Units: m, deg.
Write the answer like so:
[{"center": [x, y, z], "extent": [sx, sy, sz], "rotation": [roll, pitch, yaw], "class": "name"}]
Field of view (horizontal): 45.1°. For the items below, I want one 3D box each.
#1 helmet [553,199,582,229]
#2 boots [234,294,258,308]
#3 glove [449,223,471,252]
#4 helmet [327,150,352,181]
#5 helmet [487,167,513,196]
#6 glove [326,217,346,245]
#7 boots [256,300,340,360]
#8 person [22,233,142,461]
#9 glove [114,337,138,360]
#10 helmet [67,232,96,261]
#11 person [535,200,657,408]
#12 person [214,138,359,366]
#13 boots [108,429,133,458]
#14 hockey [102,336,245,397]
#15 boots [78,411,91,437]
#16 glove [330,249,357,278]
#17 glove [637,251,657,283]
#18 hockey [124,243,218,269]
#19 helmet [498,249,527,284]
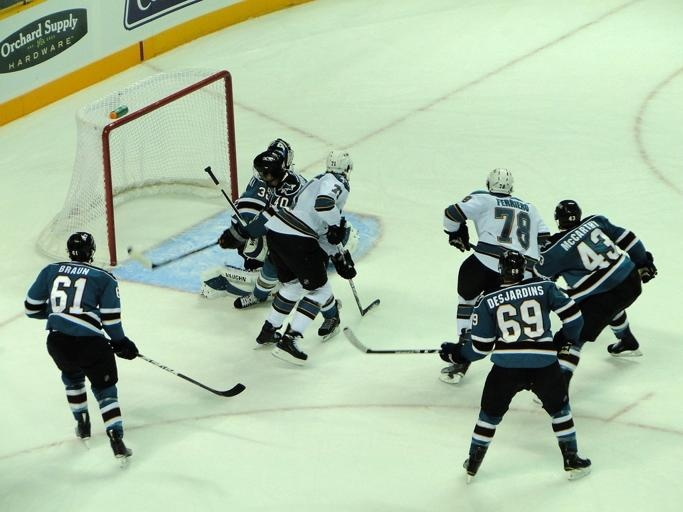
[{"center": [1.559, -0.298, 5.710], "extent": [0.183, 0.194, 0.209], "rotation": [-3, 25, 6], "class": "helmet"}, {"center": [-0.797, 0.384, 6.807], "extent": [0.267, 0.079, 0.095], "rotation": [-11, -4, -16], "class": "boots"}, {"center": [0.875, -0.126, 6.123], "extent": [0.210, 0.187, 0.060], "rotation": [-15, -7, -29], "class": "glove"}, {"center": [-0.015, -0.693, 6.258], "extent": [0.207, 0.204, 0.231], "rotation": [9, 21, 15], "class": "helmet"}, {"center": [1.153, -0.540, 5.930], "extent": [0.173, 0.154, 0.210], "rotation": [6, 18, 5], "class": "helmet"}, {"center": [-0.034, -0.188, 6.090], "extent": [0.077, 0.192, 0.140], "rotation": [-5, 35, -40], "class": "glove"}, {"center": [-0.202, 0.589, 6.439], "extent": [0.938, 0.262, 0.414], "rotation": [1, -19, -44], "class": "boots"}, {"center": [-1.671, 0.569, 5.218], "extent": [0.681, 1.417, 0.365], "rotation": [1, 6, -4], "class": "person"}, {"center": [-1.400, 0.596, 5.290], "extent": [0.170, 0.115, 0.055], "rotation": [14, 42, 4], "class": "glove"}, {"center": [-1.652, -0.058, 5.253], "extent": [0.168, 0.161, 0.187], "rotation": [3, 22, -7], "class": "helmet"}, {"center": [1.791, 0.265, 5.911], "extent": [0.917, 1.281, 0.858], "rotation": [-17, 10, -24], "class": "person"}, {"center": [-0.376, -0.019, 6.249], "extent": [0.857, 1.576, 0.604], "rotation": [3, 6, 14], "class": "person"}, {"center": [-1.404, 1.191, 5.186], "extent": [0.151, 0.202, 0.119], "rotation": [-2, 7, -29], "class": "boots"}, {"center": [-1.224, 0.820, 5.937], "extent": [0.903, 0.123, 0.153], "rotation": [25, 23, 25], "class": "hockey"}, {"center": [-1.699, 1.111, 5.407], "extent": [0.079, 0.129, 0.180], "rotation": [-2, 22, -13], "class": "boots"}, {"center": [0.007, 0.059, 6.374], "extent": [0.186, 0.213, 0.088], "rotation": [-8, 3, -13], "class": "glove"}, {"center": [2.220, 0.082, 5.949], "extent": [0.175, 0.206, 0.087], "rotation": [-2, 2, -4], "class": "glove"}, {"center": [-1.389, -0.010, 6.374], "extent": [0.286, 0.066, 0.915], "rotation": [31, 25, 33], "class": "hockey"}, {"center": [1.022, 0.072, 4.912], "extent": [0.146, 0.187, 0.168], "rotation": [2, 6, 10], "class": "helmet"}]
